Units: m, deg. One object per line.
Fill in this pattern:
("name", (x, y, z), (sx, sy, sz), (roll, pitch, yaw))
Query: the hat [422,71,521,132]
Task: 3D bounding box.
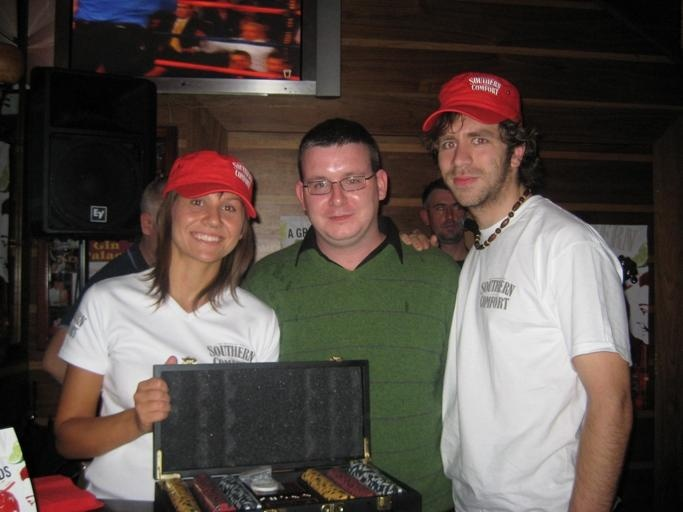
("hat", (0.741, -0.827, 3.502), (0.454, 0.195, 0.326), (3, 1, -42))
